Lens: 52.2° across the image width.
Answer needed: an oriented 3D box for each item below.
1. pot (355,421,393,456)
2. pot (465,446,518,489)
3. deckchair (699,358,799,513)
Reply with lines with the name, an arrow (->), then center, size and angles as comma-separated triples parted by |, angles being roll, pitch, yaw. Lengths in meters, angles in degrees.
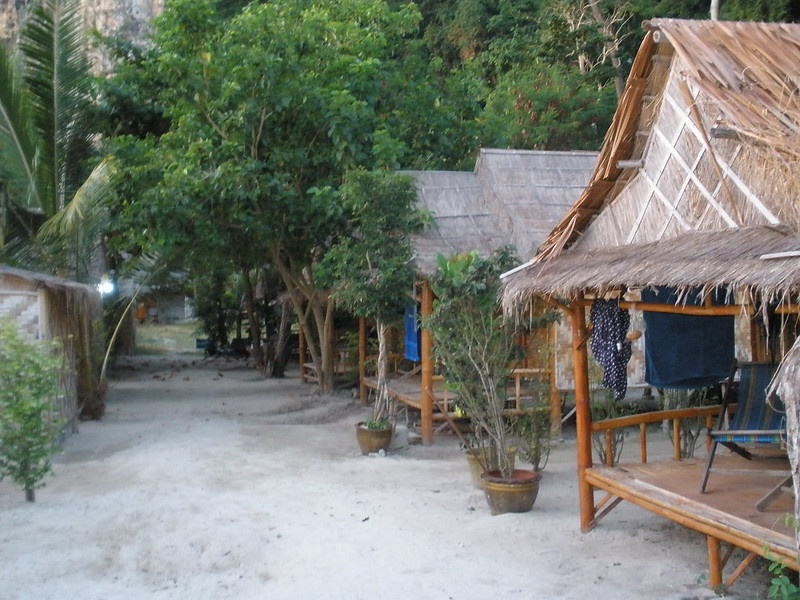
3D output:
pot -> -0.445, 2.407, 14.175 | 0.452, 0.398, 0.507 | 2, 1, 17
pot -> 1.209, 2.459, 12.081 | 0.577, 0.524, 0.638 | 1, 0, 12
deckchair -> 4.270, 1.621, 10.106 | 0.948, 1.675, 3.157 | -2, -5, 23
